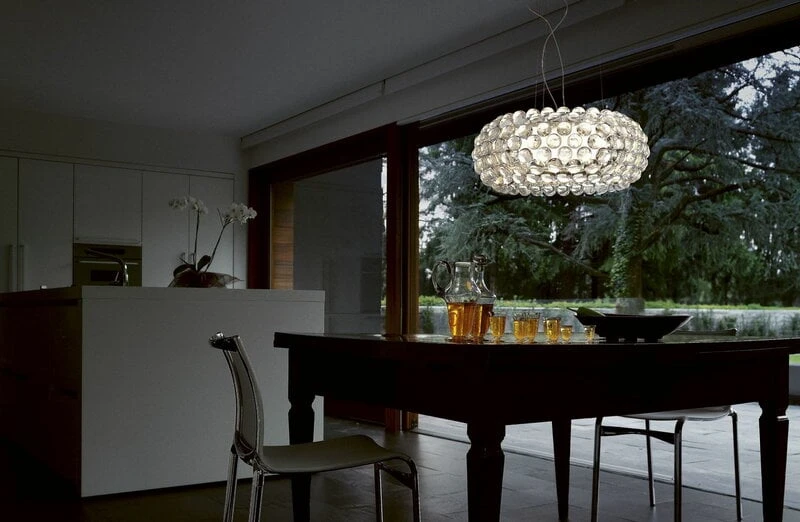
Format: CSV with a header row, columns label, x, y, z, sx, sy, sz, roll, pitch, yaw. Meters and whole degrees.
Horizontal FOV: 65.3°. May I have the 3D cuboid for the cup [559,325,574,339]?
label,x,y,z,sx,sy,sz,roll,pitch,yaw
cup,0.743,0.307,2.738,0.064,0.067,0.061,2,0,0

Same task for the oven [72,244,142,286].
label,x,y,z,sx,sy,sz,roll,pitch,yaw
oven,-3.195,-0.006,6.941,0.738,0.478,0.420,1,17,-13

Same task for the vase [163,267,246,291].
label,x,y,z,sx,sy,sz,roll,pitch,yaw
vase,-1.432,0.108,4.501,0.424,0.148,0.408,2,-2,-19

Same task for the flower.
label,x,y,z,sx,sy,sz,roll,pitch,yaw
flower,-2.128,-0.293,6.912,0.947,0.978,0.718,5,0,24

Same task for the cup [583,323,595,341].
label,x,y,z,sx,sy,sz,roll,pitch,yaw
cup,0.840,0.315,2.765,0.064,0.081,0.060,4,-7,0

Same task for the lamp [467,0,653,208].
label,x,y,z,sx,sy,sz,roll,pitch,yaw
lamp,1.035,-0.967,4.058,1.019,1.320,0.724,0,-1,14

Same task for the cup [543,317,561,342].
label,x,y,z,sx,sy,sz,roll,pitch,yaw
cup,0.660,0.295,2.753,0.091,0.103,0.091,1,1,0
